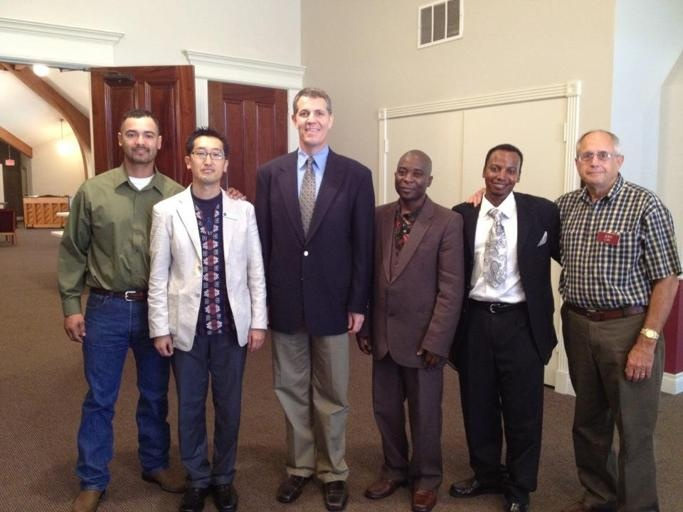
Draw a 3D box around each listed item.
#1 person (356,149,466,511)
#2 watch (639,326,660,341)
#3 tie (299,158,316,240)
[{"bbox_3d":[0.378,0.404,3.027,0.588,1.960,0.428,3,10,14],"label":"person"},{"bbox_3d":[1.538,0.384,2.680,0.077,0.054,0.077,39,8,30],"label":"watch"},{"bbox_3d":[-0.190,-0.339,2.979,0.092,0.424,0.116,5,11,25],"label":"tie"}]
